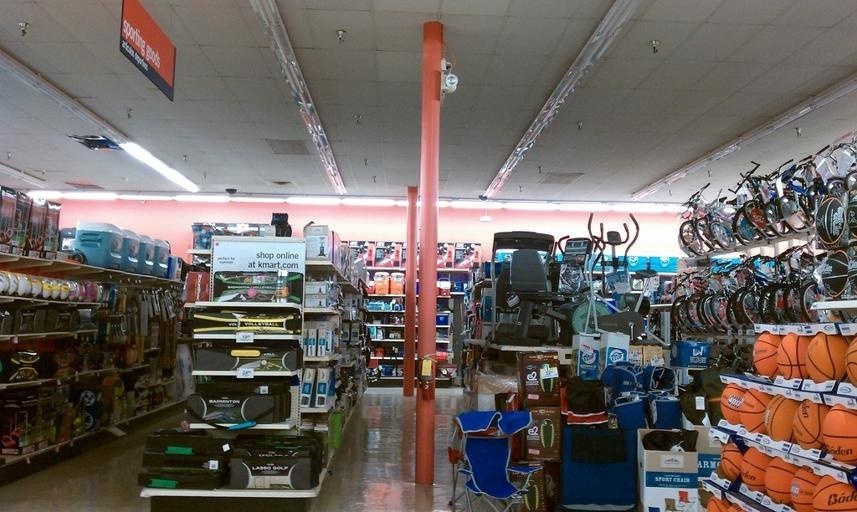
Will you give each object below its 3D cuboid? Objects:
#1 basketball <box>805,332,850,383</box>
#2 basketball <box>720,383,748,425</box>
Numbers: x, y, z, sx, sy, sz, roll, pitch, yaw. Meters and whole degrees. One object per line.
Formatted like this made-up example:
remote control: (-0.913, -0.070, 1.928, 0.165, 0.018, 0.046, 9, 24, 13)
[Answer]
basketball: (3.654, 0.932, 5.223, 0.258, 0.436, 0.284, 2, 1, 4)
basketball: (3.184, 1.496, 5.843, 0.264, 0.332, 0.208, 16, 40, 11)
